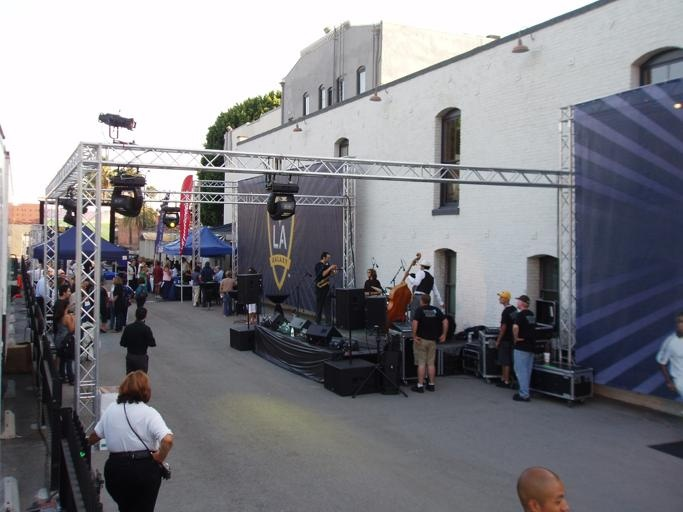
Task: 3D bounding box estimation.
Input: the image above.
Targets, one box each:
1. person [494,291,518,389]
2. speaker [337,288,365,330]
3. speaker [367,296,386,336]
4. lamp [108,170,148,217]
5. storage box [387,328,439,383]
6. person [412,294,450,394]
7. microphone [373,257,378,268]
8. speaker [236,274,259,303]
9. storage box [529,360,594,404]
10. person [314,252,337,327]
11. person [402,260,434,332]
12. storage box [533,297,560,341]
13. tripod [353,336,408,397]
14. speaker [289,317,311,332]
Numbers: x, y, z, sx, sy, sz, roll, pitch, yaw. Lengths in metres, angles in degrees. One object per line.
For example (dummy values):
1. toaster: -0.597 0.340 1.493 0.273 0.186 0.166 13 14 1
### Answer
1. person: 3.388 1.688 13.031 0.396 1.911 0.613 4 7 33
2. speaker: 0.190 1.074 13.056 0.544 0.853 0.523 -9 12 -42
3. speaker: 0.719 1.191 13.425 0.598 0.987 0.556 -1 1 1
4. lamp: -4.115 -1.186 11.856 0.733 1.021 0.738 -5 13 -34
5. storage box: 1.263 2.140 13.140 0.856 1.629 0.944 2 -3 -28
6. person: 1.779 1.737 12.770 0.649 1.996 0.548 1 7 8
7. microphone: 1.035 0.165 19.144 0.156 0.325 0.524 -2 9 -6
8. speaker: -2.463 0.845 16.589 0.687 1.070 0.488 2 -4 -44
9. storage box: 4.299 2.512 12.400 0.625 0.706 1.120 0 0 -30
10. person: -0.521 1.063 18.492 0.551 2.378 0.695 -2 7 -30
11. person: 1.954 0.982 15.889 0.531 1.721 0.640 -1 4 -24
12. storage box: 4.378 1.397 13.732 0.601 0.626 0.466 -5 18 43
13. tripod: 0.872 2.174 12.657 0.776 1.409 0.825 2 7 -16
14. speaker: -1.011 1.662 15.323 0.411 0.260 0.311 8 31 46
